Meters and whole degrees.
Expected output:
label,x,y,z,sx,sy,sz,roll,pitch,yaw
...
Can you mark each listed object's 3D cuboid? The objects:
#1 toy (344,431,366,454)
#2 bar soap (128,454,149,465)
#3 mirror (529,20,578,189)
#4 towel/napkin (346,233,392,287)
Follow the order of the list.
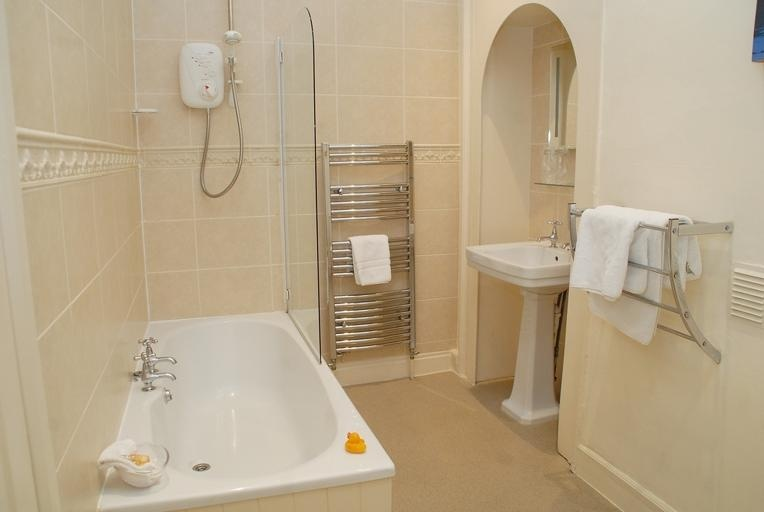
label,x,y,z,sx,sy,sz,roll,pitch,yaw
toy,-0.108,0.755,2.270,0.069,0.047,0.074,13,16,23
bar soap,-0.926,0.776,2.122,0.042,0.011,0.042,12,7,-36
mirror,1.092,-0.972,3.532,0.232,1.018,0.520,0,12,11
towel/napkin,-0.067,0.041,3.788,0.300,0.374,0.185,-6,12,-14
